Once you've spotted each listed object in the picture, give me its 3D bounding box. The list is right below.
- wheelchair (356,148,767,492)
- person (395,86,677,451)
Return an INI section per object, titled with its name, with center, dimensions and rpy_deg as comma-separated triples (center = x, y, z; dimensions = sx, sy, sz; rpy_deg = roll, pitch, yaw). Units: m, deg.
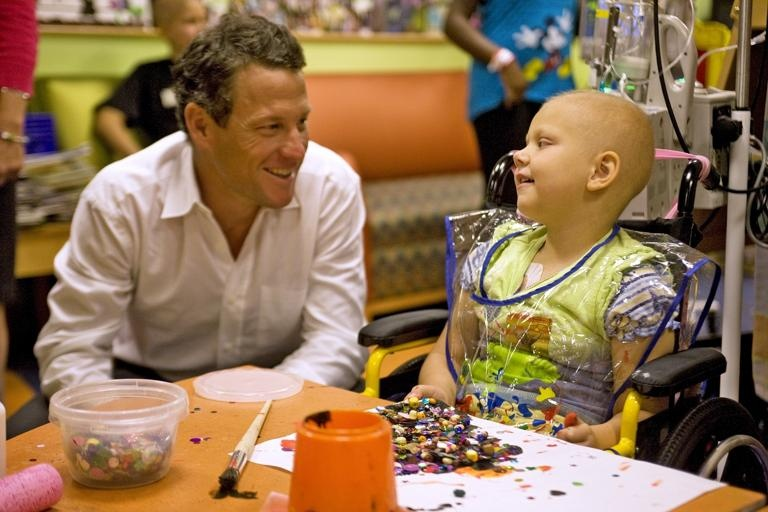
[wheelchair]
center = 0.476, 0.021, 1.675
dimensions = 0.648, 0.963, 0.937
rpy_deg = 5, 5, 42
[person]
center = 0.458, -0.063, 1.878
dimensions = 0.715, 0.944, 0.540
rpy_deg = 1, 3, -22
